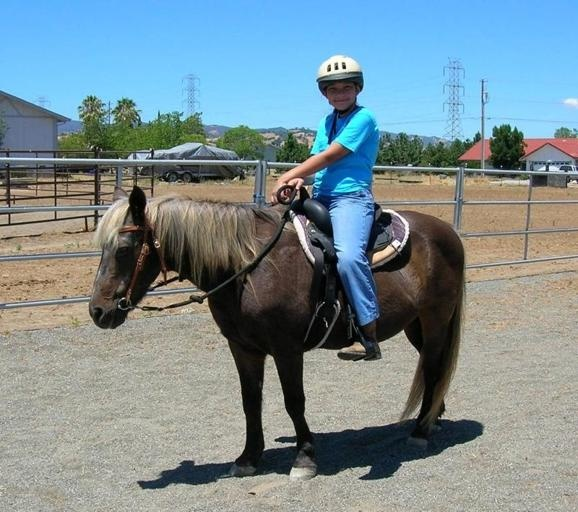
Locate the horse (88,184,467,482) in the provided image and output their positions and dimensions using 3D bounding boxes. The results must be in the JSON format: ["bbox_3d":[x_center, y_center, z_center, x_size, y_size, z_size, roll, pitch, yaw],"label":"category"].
[{"bbox_3d":[0.107,0.430,3.101,2.336,1.481,0.704,1,0,-22],"label":"horse"}]

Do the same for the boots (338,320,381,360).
[{"bbox_3d":[0.371,0.435,2.878,0.297,0.217,0.136,5,-13,-43],"label":"boots"}]

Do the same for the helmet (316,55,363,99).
[{"bbox_3d":[0.323,-1.002,3.046,0.208,0.196,0.258,4,0,29],"label":"helmet"}]
